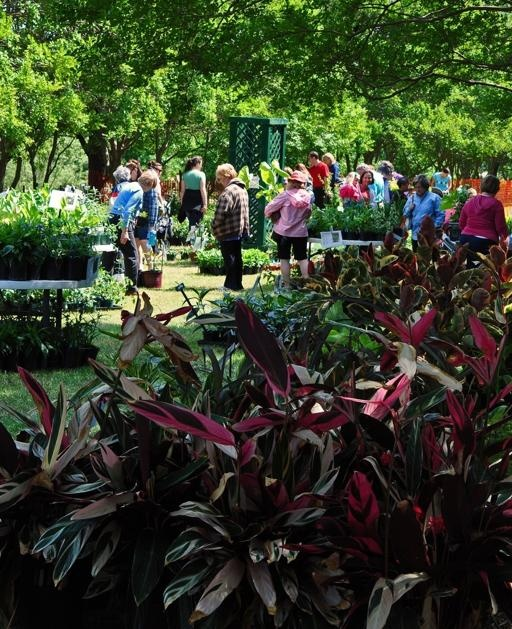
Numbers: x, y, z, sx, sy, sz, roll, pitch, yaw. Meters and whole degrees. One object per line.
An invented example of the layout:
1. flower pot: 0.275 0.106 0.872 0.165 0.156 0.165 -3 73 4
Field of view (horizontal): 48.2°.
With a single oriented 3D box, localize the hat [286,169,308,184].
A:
1. hat: 0.583 -1.985 8.217 0.259 0.116 0.266 13 13 -5
